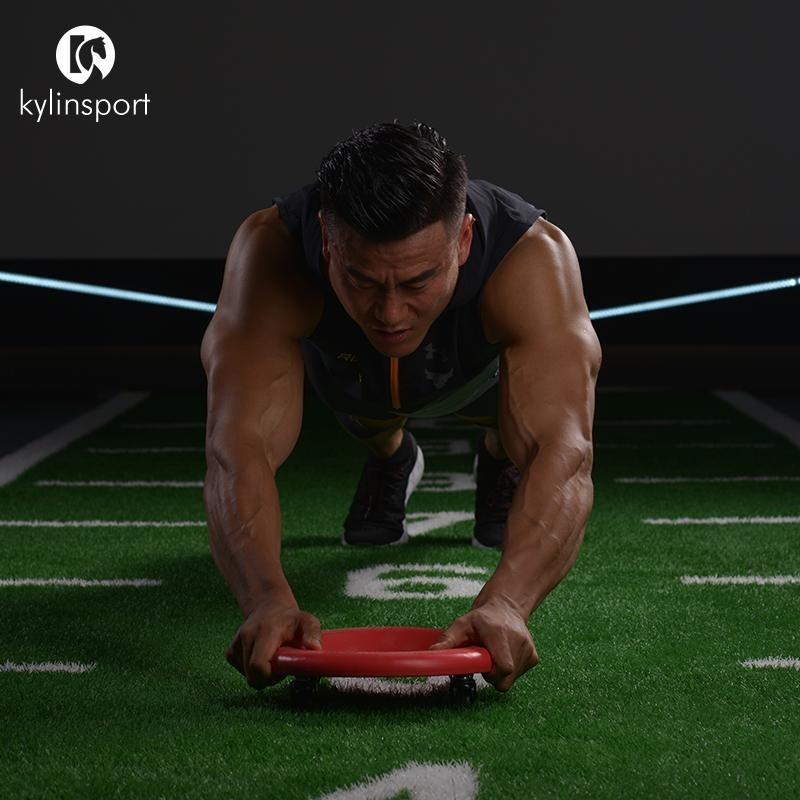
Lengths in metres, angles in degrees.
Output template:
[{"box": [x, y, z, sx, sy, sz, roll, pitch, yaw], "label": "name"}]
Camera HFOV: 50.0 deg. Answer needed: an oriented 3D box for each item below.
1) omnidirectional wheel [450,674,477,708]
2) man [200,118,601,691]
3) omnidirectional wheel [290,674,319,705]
[{"box": [0.066, 0.305, 0.896, 0.031, 0.028, 0.030, 0, -10, 0], "label": "omnidirectional wheel"}, {"box": [-0.013, -0.015, 1.293, 0.541, 0.681, 0.931, 0, 3, -6], "label": "man"}, {"box": [-0.100, 0.306, 0.899, 0.029, 0.036, 0.039, -1, -25, 3], "label": "omnidirectional wheel"}]
